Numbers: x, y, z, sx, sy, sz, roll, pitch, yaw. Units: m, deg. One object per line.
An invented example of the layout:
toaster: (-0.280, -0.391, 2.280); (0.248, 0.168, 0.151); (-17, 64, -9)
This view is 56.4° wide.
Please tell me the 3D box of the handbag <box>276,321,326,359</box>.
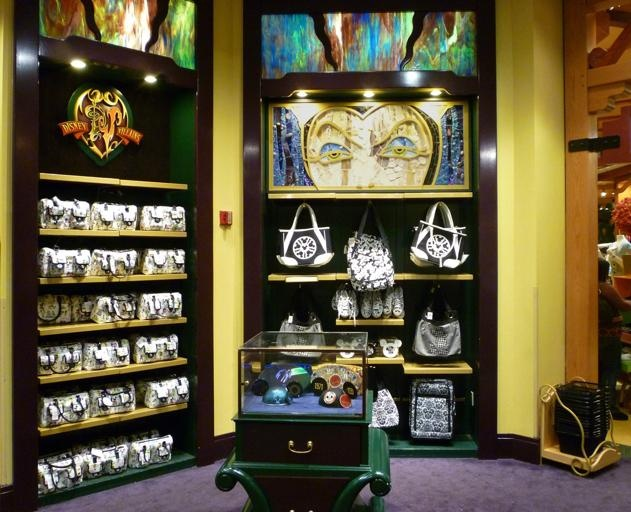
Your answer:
handbag: (-0.092, 0.418, 3.496); (0.279, 0.317, 0.174); (1, -21, 1)

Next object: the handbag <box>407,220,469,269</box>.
handbag: (0.959, -0.090, 4.503); (0.277, 0.328, 0.146); (6, -9, -1)

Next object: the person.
person: (2.278, 0.551, 4.528); (0.269, 1.108, 0.083); (-2, 8, -11)

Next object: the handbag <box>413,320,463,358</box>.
handbag: (0.939, 0.624, 4.473); (0.402, 0.354, 0.244); (0, -3, -2)

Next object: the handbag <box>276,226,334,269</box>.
handbag: (-0.081, -0.068, 4.532); (0.270, 0.318, 0.112); (-1, 5, 3)

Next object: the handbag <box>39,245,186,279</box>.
handbag: (-1.416, 0.028, 4.185); (1.035, 0.289, 0.189); (-8, 11, -34)

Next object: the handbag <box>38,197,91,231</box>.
handbag: (-1.682, -0.276, 3.939); (0.231, 0.187, 0.218); (0, 3, -26)

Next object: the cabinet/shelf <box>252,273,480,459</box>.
cabinet/shelf: (0.525, 0.844, 4.634); (1.307, 1.436, 0.422); (-5, -2, 9)
